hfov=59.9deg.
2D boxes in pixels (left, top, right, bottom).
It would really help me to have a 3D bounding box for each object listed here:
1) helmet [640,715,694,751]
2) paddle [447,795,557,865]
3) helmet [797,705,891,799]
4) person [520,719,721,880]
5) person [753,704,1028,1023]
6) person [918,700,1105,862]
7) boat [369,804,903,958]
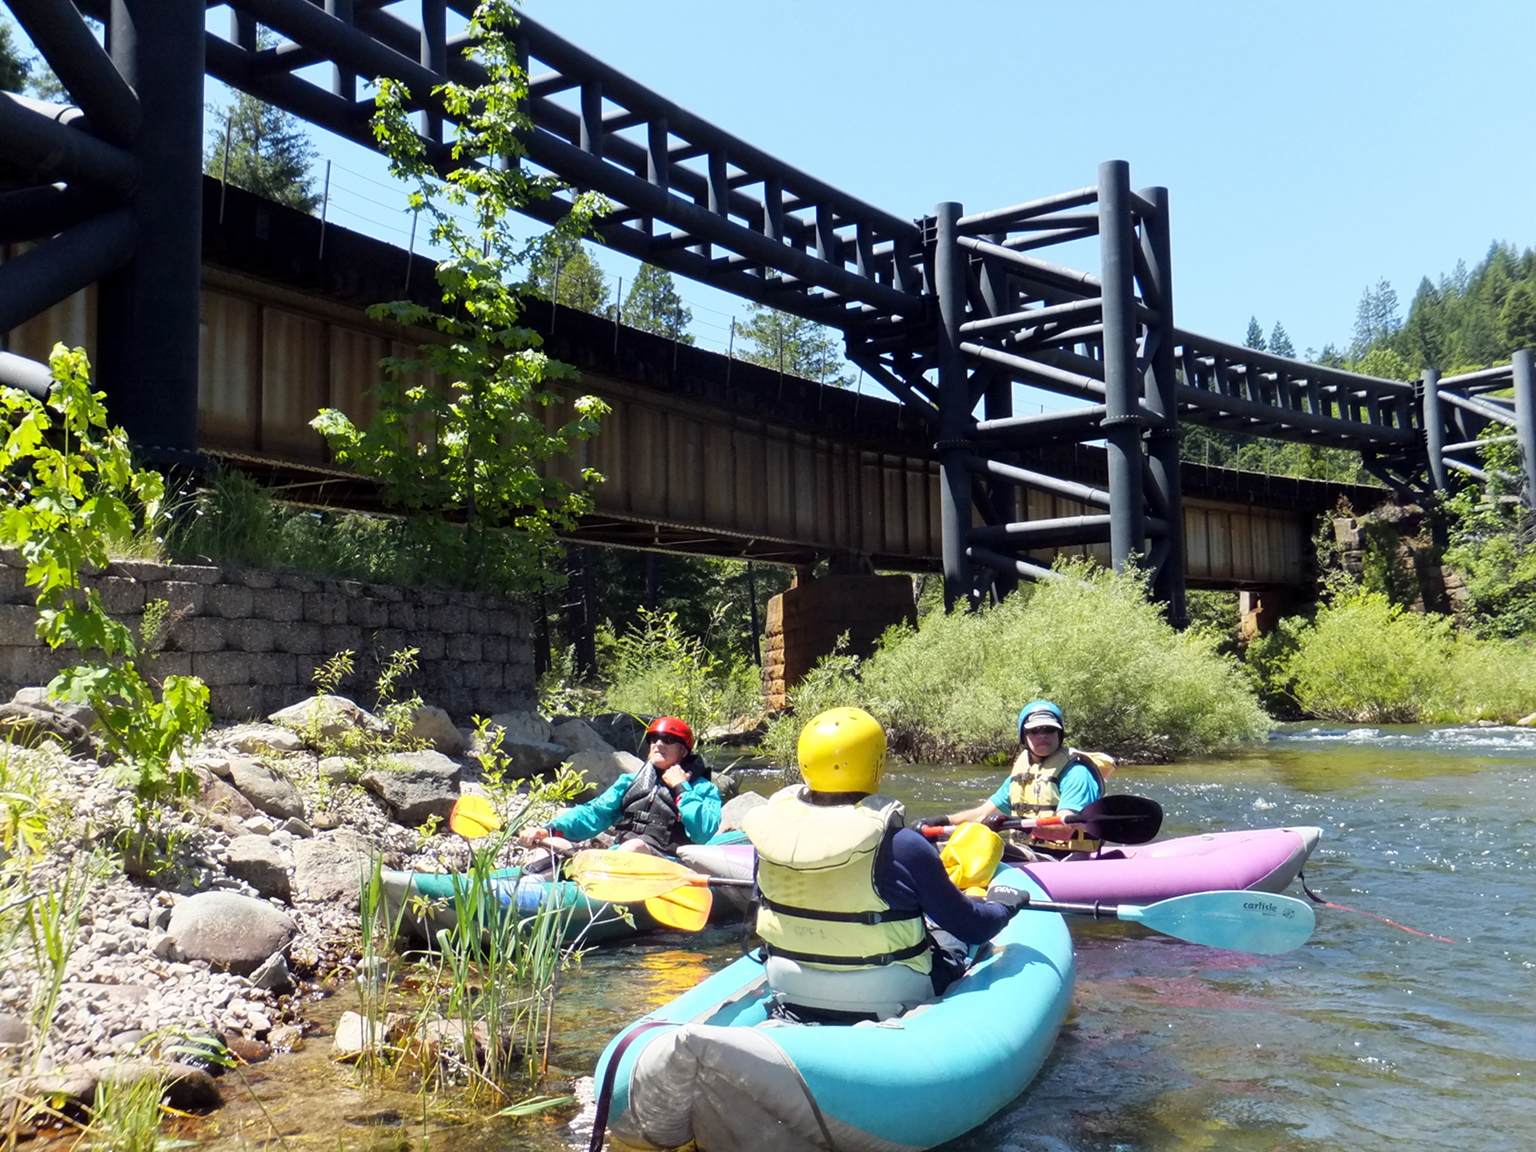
[{"bbox_3d":[-0.604,1.069,8.876,0.275,0.162,0.240,32,-25,-24],"label":"helmet"},{"bbox_3d":[-1.679,1.608,8.434,0.577,0.252,0.408,14,18,-27],"label":"paddle"},{"bbox_3d":[0.379,0.835,6.357,0.364,0.455,0.488,-1,-1,28],"label":"helmet"},{"bbox_3d":[-0.859,1.462,8.550,1.000,1.013,1.633,0,-3,23],"label":"person"},{"bbox_3d":[0.614,1.401,6.643,1.026,1.601,1.465,3,4,41],"label":"person"},{"bbox_3d":[1.854,1.628,9.554,1.361,1.552,0.886,6,-10,-24],"label":"person"},{"bbox_3d":[-1.057,1.908,7.943,2.023,0.653,1.057,1,-9,-34],"label":"boat"}]
